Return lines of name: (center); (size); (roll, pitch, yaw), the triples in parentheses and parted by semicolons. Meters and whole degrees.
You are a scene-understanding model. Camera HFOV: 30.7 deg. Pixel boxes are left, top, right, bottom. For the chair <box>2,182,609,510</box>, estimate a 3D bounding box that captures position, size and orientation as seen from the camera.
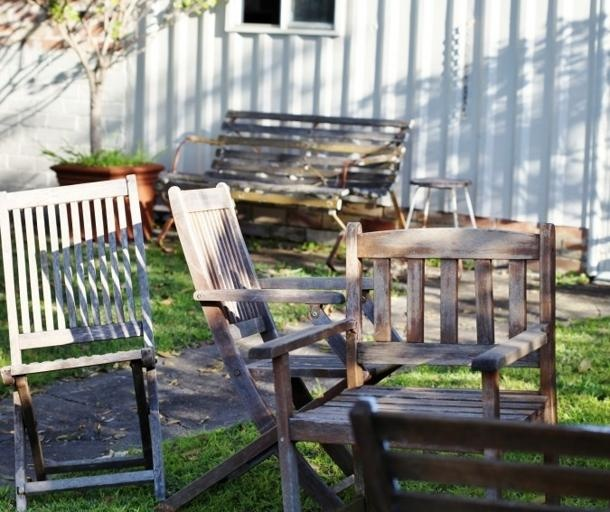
chair: (-0.245, 0.400, 5.566); (2.789, 1.634, 1.271); (0, 5, 28)
